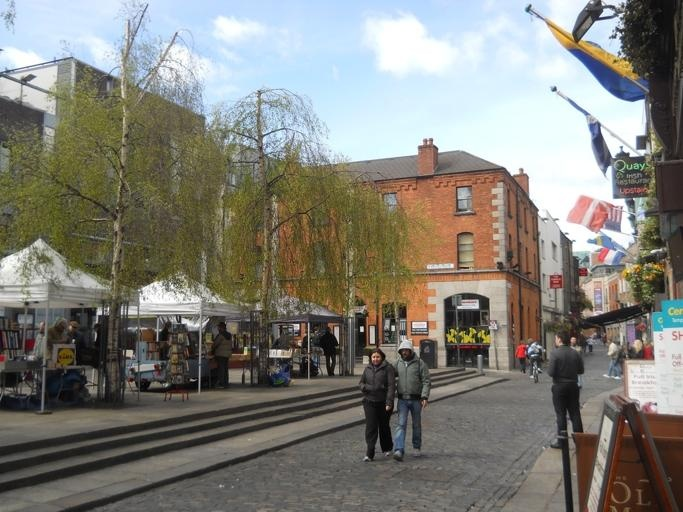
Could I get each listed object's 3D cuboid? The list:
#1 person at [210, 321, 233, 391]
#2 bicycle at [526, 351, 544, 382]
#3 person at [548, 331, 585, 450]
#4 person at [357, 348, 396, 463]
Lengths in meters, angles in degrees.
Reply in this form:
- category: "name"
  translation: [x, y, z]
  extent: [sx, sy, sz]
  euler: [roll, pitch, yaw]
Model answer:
- category: "person"
  translation: [-3.646, 3.000, 22.413]
  extent: [0.586, 2.051, 1.413]
  euler: [0, -10, -10]
- category: "bicycle"
  translation: [7.932, 4.493, 30.513]
  extent: [0.693, 1.065, 1.623]
  euler: [0, -2, 11]
- category: "person"
  translation: [4.475, 2.459, 14.610]
  extent: [0.660, 1.991, 0.583]
  euler: [-2, -9, 2]
- category: "person"
  translation: [0.720, 2.879, 14.426]
  extent: [0.716, 2.183, 0.770]
  euler: [-2, -9, 2]
